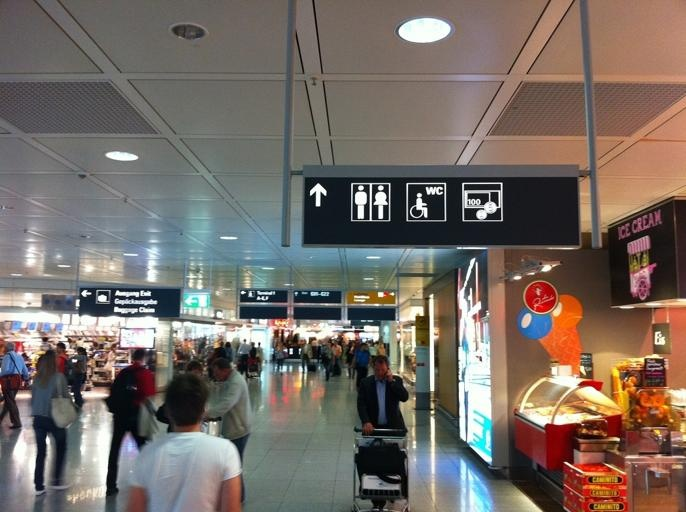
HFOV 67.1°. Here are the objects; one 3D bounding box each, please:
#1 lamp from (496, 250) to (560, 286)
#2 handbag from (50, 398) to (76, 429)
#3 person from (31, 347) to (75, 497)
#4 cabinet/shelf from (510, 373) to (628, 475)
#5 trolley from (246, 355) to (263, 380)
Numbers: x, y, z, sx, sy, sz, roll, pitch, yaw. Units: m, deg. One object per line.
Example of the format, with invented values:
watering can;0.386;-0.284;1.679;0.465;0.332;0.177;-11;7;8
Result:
lamp;2.757;0.193;7.820;0.494;0.425;0.794;7;-10;-41
handbag;-3.701;2.119;6.945;0.177;0.424;0.351;-4;-10;22
person;-3.931;2.233;7.036;0.547;1.858;0.599;6;-11;-29
cabinet/shelf;3.173;2.326;7.360;1.072;1.138;1.417;4;-11;6
trolley;-3.919;4.978;23.144;0.755;0.984;1.034;1;0;0
